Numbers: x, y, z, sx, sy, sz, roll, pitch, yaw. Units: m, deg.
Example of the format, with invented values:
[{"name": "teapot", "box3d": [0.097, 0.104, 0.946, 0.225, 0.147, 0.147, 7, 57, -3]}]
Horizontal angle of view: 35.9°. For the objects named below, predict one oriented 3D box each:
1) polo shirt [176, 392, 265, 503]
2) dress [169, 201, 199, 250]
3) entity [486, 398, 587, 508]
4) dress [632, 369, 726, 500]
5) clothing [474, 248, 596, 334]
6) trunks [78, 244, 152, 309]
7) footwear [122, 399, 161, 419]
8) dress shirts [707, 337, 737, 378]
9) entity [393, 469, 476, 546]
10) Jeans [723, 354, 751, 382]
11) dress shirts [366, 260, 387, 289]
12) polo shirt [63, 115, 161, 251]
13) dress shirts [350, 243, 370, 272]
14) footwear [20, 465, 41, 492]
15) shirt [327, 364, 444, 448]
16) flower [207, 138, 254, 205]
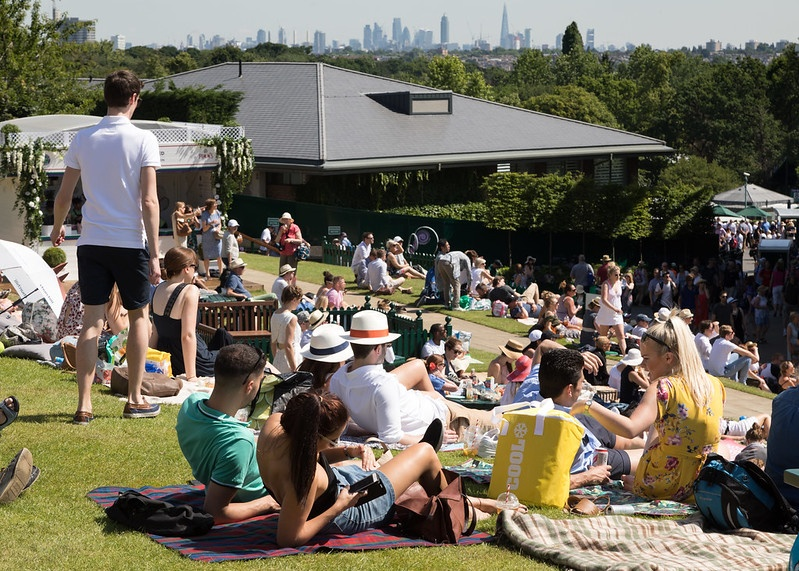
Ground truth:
[{"name": "polo shirt", "box3d": [-2.077, 1.893, 14.122, 0.576, 0.835, 0.805, -29, 36, -35]}, {"name": "dress", "box3d": [-5.517, -1.482, 31.484, 0.689, 0.504, 1.763, -13, -9, -9]}, {"name": "entity", "box3d": [1.639, 2.111, 15.105, 1.154, 1.405, 0.853, 3, -12, 30]}, {"name": "dress", "box3d": [3.497, 1.845, 15.752, 1.088, 1.721, 1.350, 1, 10, -15]}, {"name": "clothing", "box3d": [3.510, 0.172, 32.753, 1.133, 2.276, 0.865, 22, -11, -27]}, {"name": "trunks", "box3d": [-3.560, -0.151, 15.300, 0.956, 1.025, 0.586, -1, -9, -7]}, {"name": "footwear", "box3d": [-3.328, 1.588, 15.913, 0.397, 0.195, 0.188, 2, 2, -27]}, {"name": "dress shirts", "box3d": [6.701, 1.521, 25.583, 0.586, 0.716, 0.488, -17, 24, -28]}, {"name": "entity", "box3d": [0.321, 2.616, 14.371, 0.877, 0.518, 0.852, -4, 6, 41]}, {"name": "Jeans", "box3d": [7.102, 1.757, 25.915, 0.418, 0.664, 0.756, -3, 12, -2]}, {"name": "dress shirts", "box3d": [-0.578, -0.264, 31.576, 0.534, 0.660, 0.334, 3, 11, 19]}, {"name": "polo shirt", "box3d": [-3.539, -1.270, 15.211, 1.077, 1.582, 0.474, 1, 6, -12]}, {"name": "dress shirts", "box3d": [-1.026, -0.718, 32.498, 0.571, 0.775, 0.560, -2, 10, -9]}, {"name": "footwear", "box3d": [-4.259, 2.217, 14.240, 0.103, 0.097, 0.287, 9, 44, 19]}, {"name": "shirt", "box3d": [-0.221, 1.515, 16.131, 0.747, 0.782, 1.659, 5, 11, 29]}, {"name": "flower", "box3d": [-4.970, -3.313, 36.434, 1.316, 1.933, 0.844, 5, 5, 38]}]
